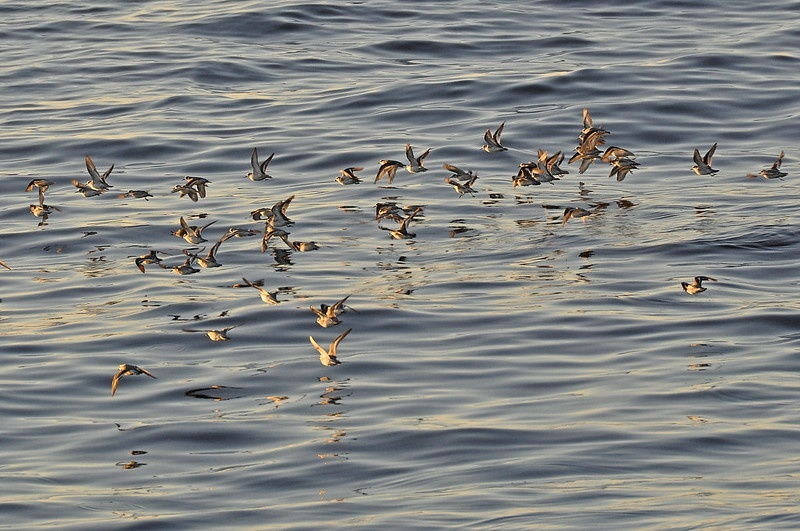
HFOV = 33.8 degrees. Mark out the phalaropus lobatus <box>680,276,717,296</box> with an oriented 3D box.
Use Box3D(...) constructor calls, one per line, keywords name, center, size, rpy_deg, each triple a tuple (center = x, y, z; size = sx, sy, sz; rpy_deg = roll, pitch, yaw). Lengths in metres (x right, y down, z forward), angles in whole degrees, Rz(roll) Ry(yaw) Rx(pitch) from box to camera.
Box3D(name="phalaropus lobatus", center=(6.962, 0.519, 31.266), size=(0.992, 0.638, 0.182), rpy_deg=(-18, 95, -46))
